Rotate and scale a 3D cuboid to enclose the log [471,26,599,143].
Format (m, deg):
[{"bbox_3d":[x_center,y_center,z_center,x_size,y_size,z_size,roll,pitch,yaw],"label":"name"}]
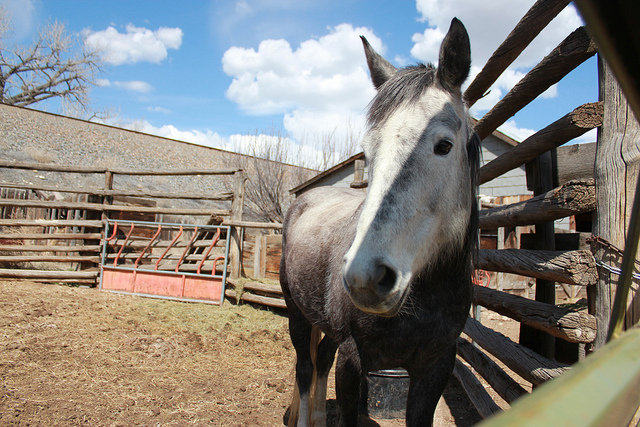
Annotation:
[{"bbox_3d":[1.968,-1.204,3.731,0.340,0.967,1.064,7,4,-8],"label":"log"}]

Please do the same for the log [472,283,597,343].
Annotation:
[{"bbox_3d":[1.738,0.757,3.857,0.293,0.327,2.005,30,-1,-3],"label":"log"}]

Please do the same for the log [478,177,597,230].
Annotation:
[{"bbox_3d":[1.831,-0.028,3.543,0.206,0.207,1.246,-25,0,-24],"label":"log"}]

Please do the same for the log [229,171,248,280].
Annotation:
[{"bbox_3d":[-1.751,0.211,8.435,0.332,2.170,0.764,7,4,-13],"label":"log"}]
